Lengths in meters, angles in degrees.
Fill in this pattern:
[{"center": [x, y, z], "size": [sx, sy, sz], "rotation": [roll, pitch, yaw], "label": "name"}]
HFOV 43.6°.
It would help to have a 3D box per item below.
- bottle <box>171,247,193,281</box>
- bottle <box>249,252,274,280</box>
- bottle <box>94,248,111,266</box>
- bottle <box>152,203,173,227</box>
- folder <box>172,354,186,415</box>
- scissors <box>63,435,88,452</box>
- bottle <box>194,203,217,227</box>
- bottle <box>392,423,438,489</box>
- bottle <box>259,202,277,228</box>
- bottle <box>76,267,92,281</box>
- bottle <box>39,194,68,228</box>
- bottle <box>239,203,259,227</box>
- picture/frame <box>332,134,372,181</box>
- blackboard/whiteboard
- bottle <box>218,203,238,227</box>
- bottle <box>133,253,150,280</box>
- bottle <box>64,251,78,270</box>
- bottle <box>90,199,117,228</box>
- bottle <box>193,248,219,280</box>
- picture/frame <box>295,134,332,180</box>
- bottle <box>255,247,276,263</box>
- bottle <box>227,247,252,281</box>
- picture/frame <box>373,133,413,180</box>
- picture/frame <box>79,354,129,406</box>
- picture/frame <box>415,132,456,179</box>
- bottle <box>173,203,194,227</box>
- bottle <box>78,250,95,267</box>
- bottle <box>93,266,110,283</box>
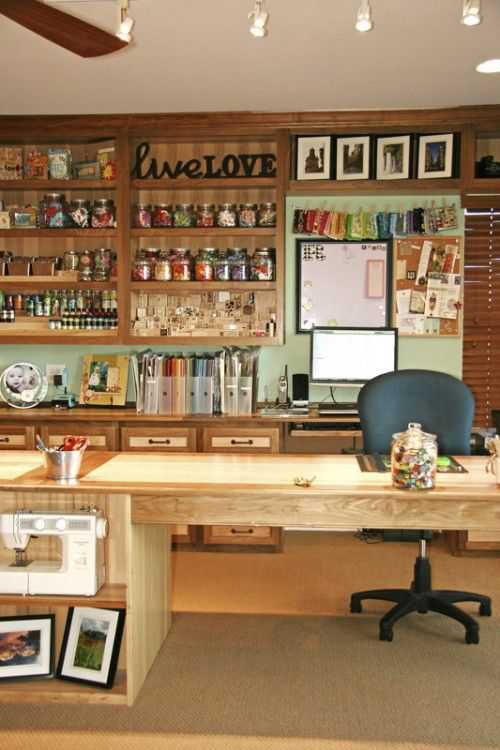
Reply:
[{"center": [-0.417, -0.676, 3.842], "size": [0.129, 0.214, 0.120], "rotation": [-1, 3, 0], "label": "bottle"}, {"center": [0.064, -0.660, 3.852], "size": [0.161, 0.180, 0.165], "rotation": [0, 0, -23], "label": "bottle"}, {"center": [-0.901, -0.731, 3.890], "size": [0.103, 0.108, 0.101], "rotation": [2, 3, -2], "label": "bottle"}, {"center": [-0.531, -0.974, 3.831], "size": [0.138, 0.137, 0.136], "rotation": [0, 2, -2], "label": "bottle"}, {"center": [-0.429, 0.065, 3.777], "size": [0.120, 0.309, 0.335], "rotation": [0, 1, -6], "label": "folder"}, {"center": [-0.581, 0.240, 2.085], "size": [0.060, 0.016, 0.059], "rotation": [12, 26, 0], "label": "scissors"}, {"center": [-0.269, -0.960, 3.803], "size": [0.138, 0.127, 0.136], "rotation": [0, 3, -8], "label": "bottle"}, {"center": [0.507, 0.251, 1.965], "size": [0.138, 0.188, 0.171], "rotation": [1, 4, 29], "label": "bottle"}, {"center": [0.103, -0.970, 3.784], "size": [0.141, 0.140, 0.133], "rotation": [0, 4, -4], "label": "bottle"}, {"center": [-1.016, -0.628, 3.879], "size": [0.090, 0.082, 0.090], "rotation": [1, 3, 12], "label": "bottle"}, {"center": [-1.200, -1.000, 3.928], "size": [0.204, 0.220, 0.199], "rotation": [1, 1, -32], "label": "bottle"}, {"center": [-0.017, -0.956, 3.798], "size": [0.137, 0.132, 0.134], "rotation": [1, 1, -24], "label": "bottle"}, {"center": [0.609, -1.308, 3.743], "size": [0.303, 0.356, 0.038], "rotation": [0, 0, 7], "label": "picture/frame"}, {"center": [0.618, -0.590, 3.955], "size": [0.631, 0.614, 0.064], "rotation": [-1, 6, 4], "label": "blackboard/whiteboard"}, {"center": [-0.131, -0.964, 3.786], "size": [0.135, 0.137, 0.133], "rotation": [0, 7, -1], "label": "bottle"}, {"center": [-0.673, -0.664, 3.862], "size": [0.089, 0.183, 0.104], "rotation": [0, 3, 15], "label": "bottle"}, {"center": [-1.122, -0.716, 3.922], "size": [0.107, 0.115, 0.106], "rotation": [1, 9, 8], "label": "bottle"}, {"center": [-0.902, -0.982, 3.863], "size": [0.168, 0.189, 0.173], "rotation": [-4, 6, -45], "label": "bottle"}, {"center": [-0.267, -0.673, 3.835], "size": [0.151, 0.209, 0.114], "rotation": [-1, 3, -6], "label": "bottle"}, {"center": [0.391, -1.309, 3.757], "size": [0.294, 0.346, 0.027], "rotation": [0, -1, 3], "label": "picture/frame"}, {"center": [0.098, -0.743, 3.851], "size": [0.099, 0.087, 0.098], "rotation": [0, 2, -5], "label": "bottle"}, {"center": [-0.065, -0.671, 3.815], "size": [0.185, 0.200, 0.183], "rotation": [0, -1, 4], "label": "bottle"}, {"center": [0.854, -1.312, 3.736], "size": [0.299, 0.338, 0.025], "rotation": [1, 3, 12], "label": "picture/frame"}, {"center": [-0.931, 0.031, 4.024], "size": [0.339, 0.362, 0.051], "rotation": [2, -16, 5], "label": "picture/frame"}, {"center": [1.106, -1.304, 3.701], "size": [0.290, 0.344, 0.029], "rotation": [2, 1, 18], "label": "picture/frame"}, {"center": [-0.400, -0.964, 3.806], "size": [0.137, 0.123, 0.134], "rotation": [1, 3, -7], "label": "bottle"}, {"center": [-1.011, -0.723, 3.874], "size": [0.093, 0.085, 0.091], "rotation": [0, 5, -15], "label": "bottle"}, {"center": [-0.917, -0.625, 3.872], "size": [0.090, 0.075, 0.089], "rotation": [2, 3, 8], "label": "bottle"}]
